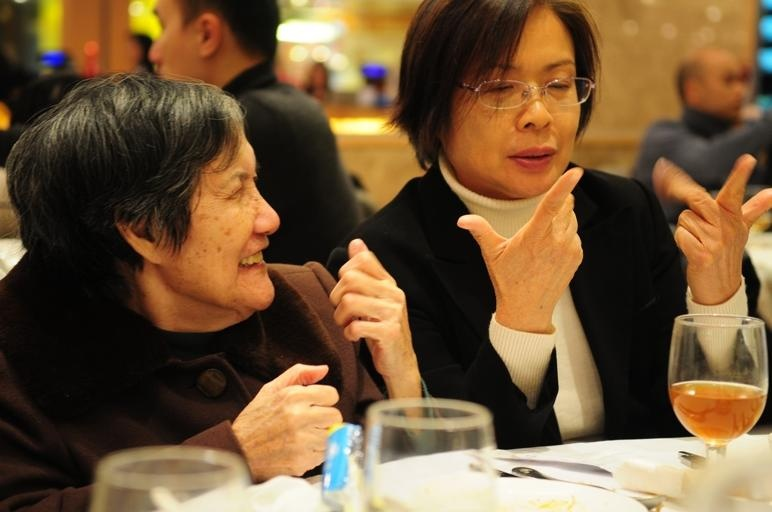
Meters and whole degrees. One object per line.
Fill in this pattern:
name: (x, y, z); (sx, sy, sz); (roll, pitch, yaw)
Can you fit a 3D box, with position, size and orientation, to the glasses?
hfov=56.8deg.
glasses: (0.362, -0.430, 1.893); (0.312, 0.085, 0.081); (-4, 16, -3)
